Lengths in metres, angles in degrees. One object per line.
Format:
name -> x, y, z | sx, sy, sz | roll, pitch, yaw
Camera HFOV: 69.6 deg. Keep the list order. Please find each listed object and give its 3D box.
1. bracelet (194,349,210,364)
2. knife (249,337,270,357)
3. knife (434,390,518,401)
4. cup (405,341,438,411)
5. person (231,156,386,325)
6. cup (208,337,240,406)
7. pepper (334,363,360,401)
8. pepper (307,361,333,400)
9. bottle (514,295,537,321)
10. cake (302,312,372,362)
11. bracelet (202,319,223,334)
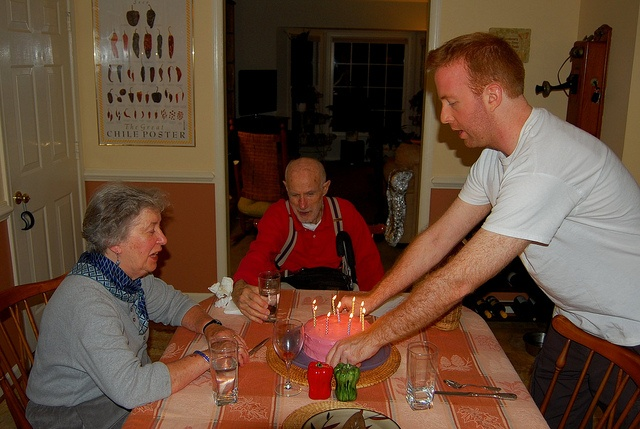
bracelet -> -0.502, 0.603, 1.966 | 0.046, 0.049, 0.013 | 13, 32, 39
knife -> -0.282, 0.599, 2.111 | 0.028, 0.011, 0.127 | 22, 30, 21
knife -> 0.622, 0.722, 1.842 | 0.330, 0.037, 0.017 | 2, -24, 3
cup -> 0.408, 0.619, 1.844 | 0.131, 0.218, 0.215 | 6, 17, 13
person -> -0.073, 0.148, 3.149 | 0.755, 1.049, 1.032 | 2, 31, 4
cup -> -0.386, 0.609, 1.856 | 0.110, 0.205, 0.215 | 0, 17, -10
pepper -> 0.101, 0.656, 1.795 | 0.119, 0.155, 0.121 | 0, 1, -4
pepper -> -0.003, 0.666, 1.848 | 0.104, 0.139, 0.105 | -5, -12, 21
bottle -> 1.707, 0.786, 3.942 | 0.168, 0.212, 0.228 | 4, 11, 2
cake -> 0.051, 0.523, 2.030 | 0.199, 0.080, 0.211 | 3, 11, 12
bracelet -> -0.527, 0.535, 2.210 | 0.019, 0.064, 0.062 | 19, 0, -43
